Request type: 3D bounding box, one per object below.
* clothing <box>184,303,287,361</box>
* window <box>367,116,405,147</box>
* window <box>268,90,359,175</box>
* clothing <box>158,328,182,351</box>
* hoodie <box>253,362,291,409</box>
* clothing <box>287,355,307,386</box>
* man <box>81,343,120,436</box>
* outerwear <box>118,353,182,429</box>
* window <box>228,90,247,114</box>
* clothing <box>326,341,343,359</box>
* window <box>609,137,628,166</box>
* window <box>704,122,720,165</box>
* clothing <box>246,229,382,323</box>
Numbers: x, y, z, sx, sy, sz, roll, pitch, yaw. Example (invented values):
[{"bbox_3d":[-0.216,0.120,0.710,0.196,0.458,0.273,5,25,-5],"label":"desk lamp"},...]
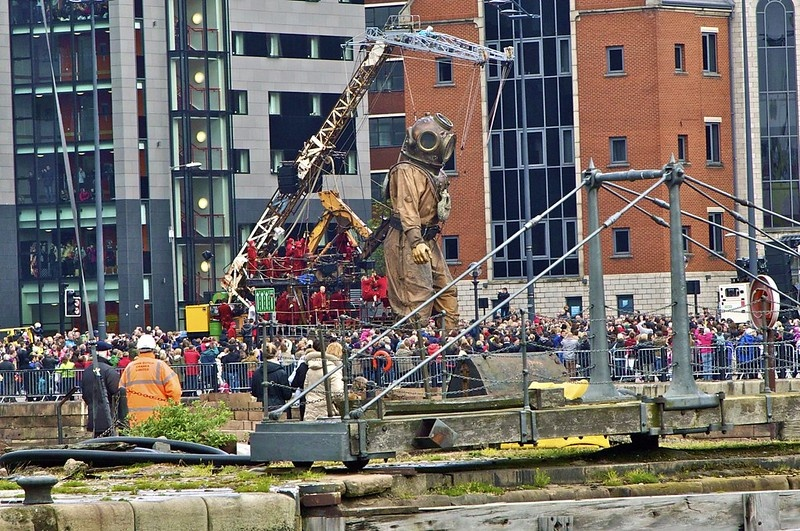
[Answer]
[{"bbox_3d":[-8.168,3.029,114.417,4.161,1.672,2.185,1,-1,8],"label":"clothing"},{"bbox_3d":[-0.767,-7.852,143.941,3.261,2.163,1.621,0,-4,7],"label":"window"},{"bbox_3d":[-5.301,-7.456,138.924,6.341,5.566,2.203,-3,2,-38],"label":"window"},{"bbox_3d":[-9.663,3.289,102.438,0.761,0.432,1.032,0,29,3],"label":"clothing"},{"bbox_3d":[-4.337,4.460,84.993,1.684,1.801,1.206,0,-1,35],"label":"hoodie"},{"bbox_3d":[-3.546,3.956,85.524,0.829,1.024,0.376,3,8,-20],"label":"clothing"},{"bbox_3d":[-10.451,4.640,84.358,1.199,2.884,0.865,-5,-4,27],"label":"man"},{"bbox_3d":[-8.481,4.476,81.782,2.753,2.766,1.550,0,4,9],"label":"outerwear"},{"bbox_3d":[-8.929,-9.094,135.243,1.318,1.678,0.959,-1,3,-21],"label":"window"},{"bbox_3d":[-2.168,3.005,82.519,0.493,0.631,0.656,4,0,7],"label":"clothing"},{"bbox_3d":[10.900,-5.602,119.652,0.893,1.369,0.390,-4,-4,11],"label":"window"},{"bbox_3d":[15.768,-6.243,120.862,0.855,1.546,0.127,-7,-11,38],"label":"window"},{"bbox_3d":[-3.873,0.874,114.629,6.307,3.401,3.962,5,8,43],"label":"clothing"}]
